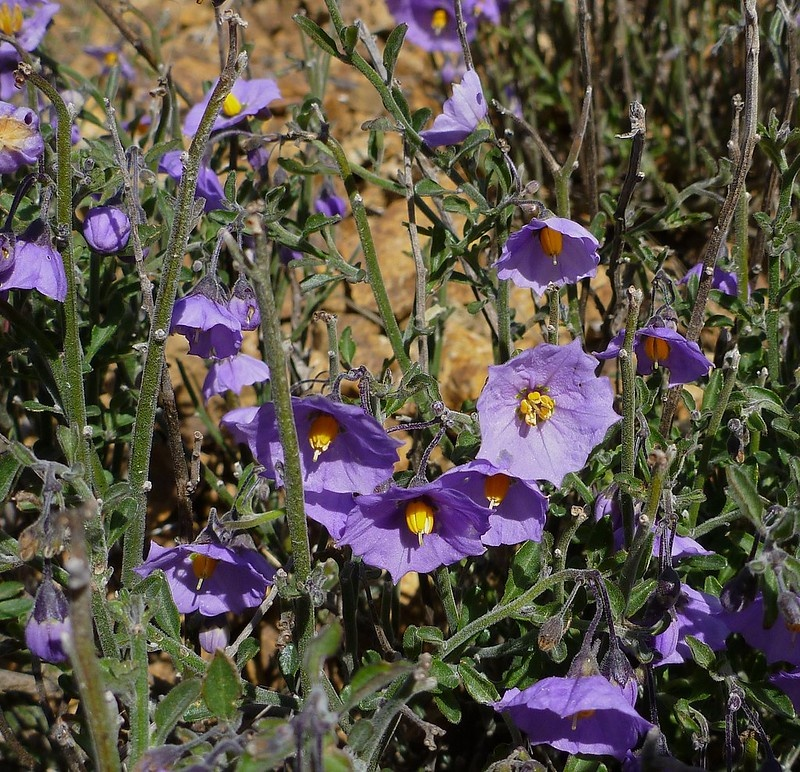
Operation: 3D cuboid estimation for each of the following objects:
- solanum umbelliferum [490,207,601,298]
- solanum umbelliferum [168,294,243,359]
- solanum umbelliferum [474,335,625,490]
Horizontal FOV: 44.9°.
[{"bbox_3d":[0.377,-0.338,2.432,0.177,0.221,0.121,-16,43,16],"label":"solanum umbelliferum"},{"bbox_3d":[-0.498,-0.150,2.486,0.131,0.185,0.093,-3,25,-4],"label":"solanum umbelliferum"},{"bbox_3d":[0.328,0.041,2.218,0.314,0.252,0.211,0,32,-24],"label":"solanum umbelliferum"}]
